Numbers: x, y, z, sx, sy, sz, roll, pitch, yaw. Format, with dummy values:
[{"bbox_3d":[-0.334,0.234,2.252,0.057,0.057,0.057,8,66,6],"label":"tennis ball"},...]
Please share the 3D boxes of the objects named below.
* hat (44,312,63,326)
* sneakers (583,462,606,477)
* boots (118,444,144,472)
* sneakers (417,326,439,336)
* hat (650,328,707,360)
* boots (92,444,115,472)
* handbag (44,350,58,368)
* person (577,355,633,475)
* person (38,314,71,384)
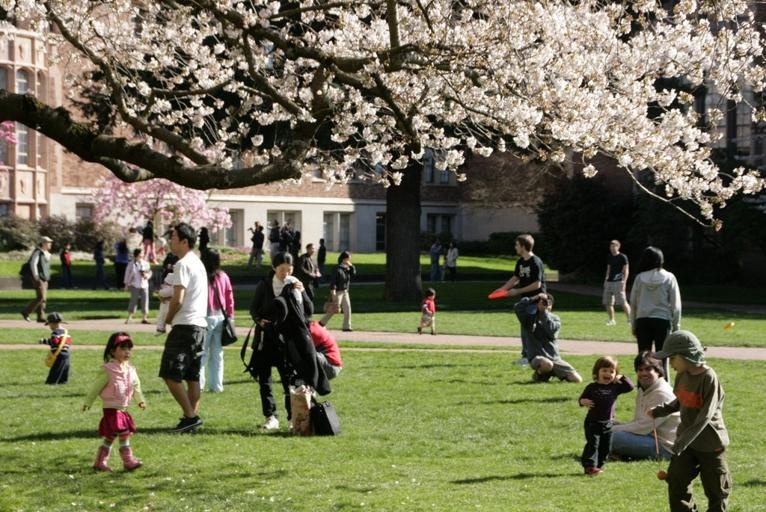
[{"bbox_3d":[-7.302,1.376,30.797,0.458,0.216,0.443,-3,8,-33],"label":"hat"},{"bbox_3d":[4.025,4.069,26.599,0.376,0.168,0.162,-6,4,3],"label":"sneakers"},{"bbox_3d":[-4.847,3.848,26.772,0.375,0.469,0.310,-4,9,-19],"label":"boots"},{"bbox_3d":[1.166,1.989,37.136,0.586,0.253,0.196,-6,-2,26],"label":"sneakers"},{"bbox_3d":[5.475,1.608,25.432,0.675,0.369,0.517,4,-2,1],"label":"hat"},{"bbox_3d":[-5.374,3.874,26.704,0.526,0.678,0.281,3,4,-19],"label":"boots"},{"bbox_3d":[-7.211,2.230,30.234,0.242,0.331,0.316,9,27,-30],"label":"handbag"},{"bbox_3d":[4.210,3.057,26.759,0.950,2.116,0.640,-8,12,-41],"label":"person"},{"bbox_3d":[-7.180,2.023,30.581,0.626,1.453,1.070,-3,9,-14],"label":"person"}]
